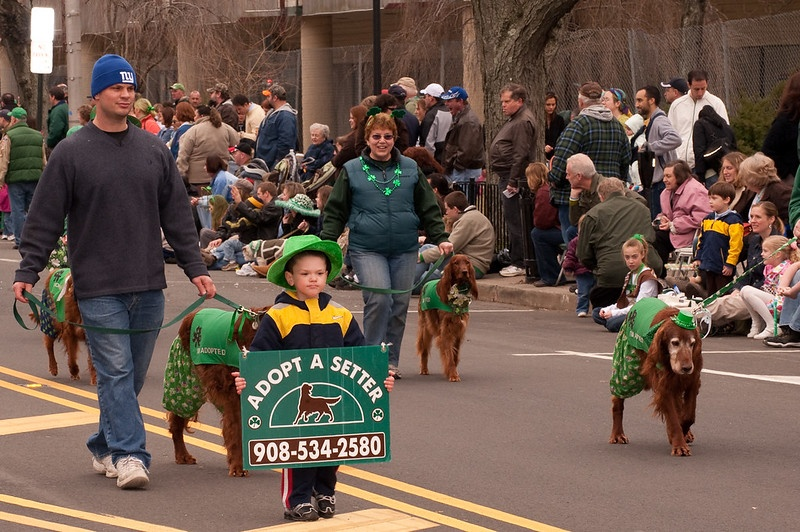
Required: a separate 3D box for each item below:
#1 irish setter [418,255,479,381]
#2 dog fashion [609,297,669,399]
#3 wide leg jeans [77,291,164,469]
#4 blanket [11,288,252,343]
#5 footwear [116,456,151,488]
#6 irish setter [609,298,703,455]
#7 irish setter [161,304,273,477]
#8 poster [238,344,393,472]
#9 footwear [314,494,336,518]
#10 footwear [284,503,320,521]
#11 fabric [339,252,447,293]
[{"bbox_3d":[0.510,0.541,11.321,0.456,1.410,1.507,-1,2,-18],"label":"irish setter"},{"bbox_3d":[2.063,0.666,8.531,0.504,0.434,0.812,-6,29,19],"label":"dog fashion"},{"bbox_3d":[-2.116,0.854,7.560,0.602,1.312,0.447,-3,8,-20],"label":"wide leg jeans"},{"bbox_3d":[-2.107,0.351,7.751,1.771,0.339,0.172,0,7,-6],"label":"blanket"},{"bbox_3d":[-2.025,1.542,7.436,0.254,0.251,0.207,-1,8,-4],"label":"footwear"},{"bbox_3d":[2.251,0.917,8.597,0.577,1.248,1.675,-2,0,-4],"label":"irish setter"},{"bbox_3d":[-1.297,0.918,7.769,0.584,1.394,1.625,2,-1,-39],"label":"irish setter"},{"bbox_3d":[-0.593,0.953,6.778,0.836,0.668,0.015,1,-6,-11],"label":"poster"},{"bbox_3d":[-0.519,1.668,6.873,0.073,0.097,0.208,0,4,-10],"label":"footwear"},{"bbox_3d":[-0.673,1.658,6.755,0.224,0.107,0.109,-2,2,21],"label":"footwear"},{"bbox_3d":[-0.004,0.065,10.997,0.947,0.326,0.239,-18,27,4],"label":"fabric"}]
